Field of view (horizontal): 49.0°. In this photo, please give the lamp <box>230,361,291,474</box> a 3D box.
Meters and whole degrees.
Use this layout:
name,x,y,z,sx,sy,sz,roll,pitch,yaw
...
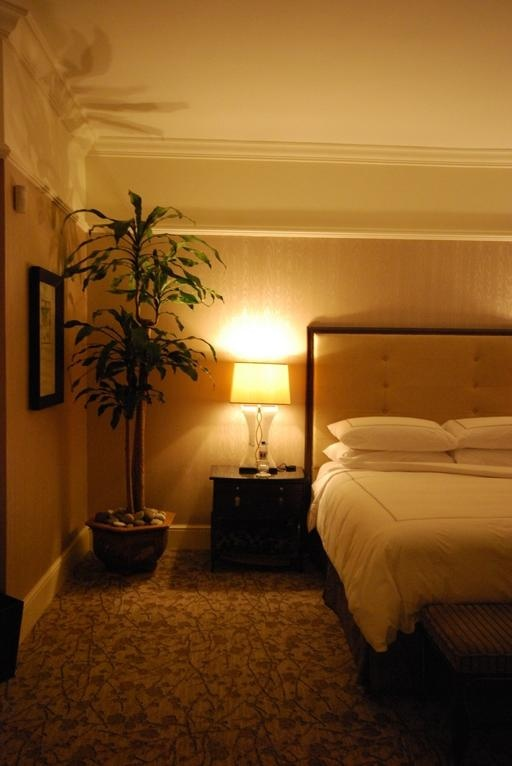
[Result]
name,x,y,z,sx,sy,sz,roll,pitch,yaw
lamp,0.016,0.196,3.308,0.328,0.637,0.350,0,0,-3

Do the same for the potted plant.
name,x,y,z,sx,sy,sz,roll,pitch,yaw
potted plant,-0.624,-0.031,3.123,0.825,2.107,0.948,0,0,-18

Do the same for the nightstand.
name,x,y,z,sx,sy,sz,roll,pitch,yaw
nightstand,0.003,0.780,3.243,0.485,0.540,0.395,3,4,4
